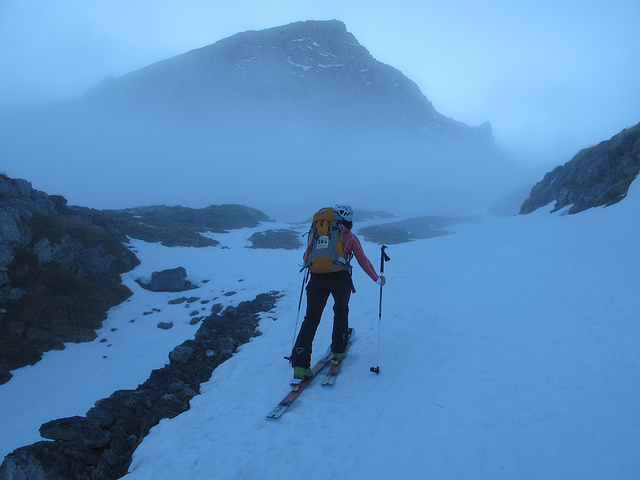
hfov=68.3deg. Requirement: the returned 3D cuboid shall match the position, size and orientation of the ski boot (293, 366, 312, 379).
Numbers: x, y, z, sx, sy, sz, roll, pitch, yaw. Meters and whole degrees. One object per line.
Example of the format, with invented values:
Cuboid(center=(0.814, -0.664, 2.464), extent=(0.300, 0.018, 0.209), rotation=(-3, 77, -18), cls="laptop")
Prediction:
Cuboid(center=(-0.584, 4.253, 15.147), extent=(0.455, 0.497, 0.212), rotation=(6, 6, -20), cls="ski boot")
